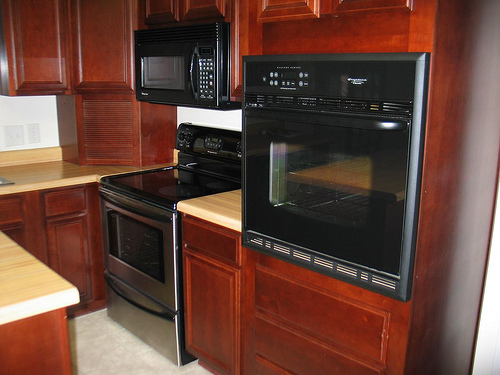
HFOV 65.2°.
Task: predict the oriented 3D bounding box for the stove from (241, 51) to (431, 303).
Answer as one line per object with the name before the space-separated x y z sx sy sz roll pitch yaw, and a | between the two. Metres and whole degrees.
stove | 0.409 -0.136 1.779 0.783 0.928 0.648 9 21 27

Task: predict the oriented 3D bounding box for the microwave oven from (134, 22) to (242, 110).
microwave oven | -0.408 -0.770 2.550 0.787 0.476 0.374 12 17 33

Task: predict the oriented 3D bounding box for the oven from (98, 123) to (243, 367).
oven | -0.498 0.315 2.626 0.894 1.357 0.722 14 21 42

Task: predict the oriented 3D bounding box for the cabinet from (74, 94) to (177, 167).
cabinet | -1.074 -0.483 3.109 0.564 0.524 0.327 0 6 5

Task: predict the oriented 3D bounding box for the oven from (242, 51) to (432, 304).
oven | 0.417 -0.139 1.776 0.822 0.922 0.711 7 20 21
